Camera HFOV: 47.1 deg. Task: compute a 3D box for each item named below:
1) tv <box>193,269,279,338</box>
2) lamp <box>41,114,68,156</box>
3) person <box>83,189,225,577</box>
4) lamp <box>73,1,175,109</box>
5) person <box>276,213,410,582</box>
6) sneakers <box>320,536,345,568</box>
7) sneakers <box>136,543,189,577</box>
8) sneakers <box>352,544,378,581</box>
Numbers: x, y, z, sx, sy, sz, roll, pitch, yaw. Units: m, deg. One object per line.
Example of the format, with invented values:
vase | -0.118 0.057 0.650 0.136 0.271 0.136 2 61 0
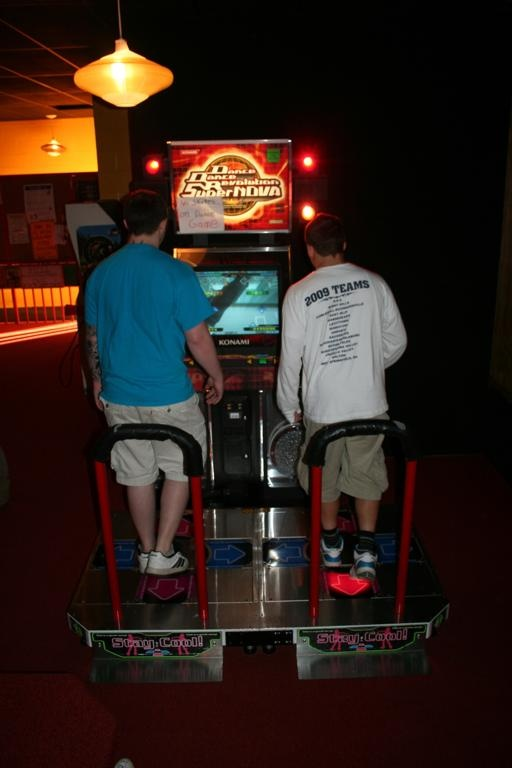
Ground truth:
tv | -0.081 -0.376 2.632 0.328 0.257 0.046 1 7 -1
lamp | -3.570 -4.332 10.261 0.352 0.698 1.330 -6 14 -18
person | -0.408 0.037 2.230 0.530 1.480 0.305 -1 12 2
lamp | -0.646 -1.514 2.804 0.415 0.268 0.353 9 16 37
person | 0.321 0.077 2.263 0.510 1.414 0.411 0 12 8
sneakers | 0.320 0.682 2.397 0.058 0.071 0.152 -1 12 2
sneakers | -0.371 0.697 2.365 0.086 0.098 0.222 2 -3 32
sneakers | 0.415 0.691 2.247 0.056 0.076 0.161 1 2 5
